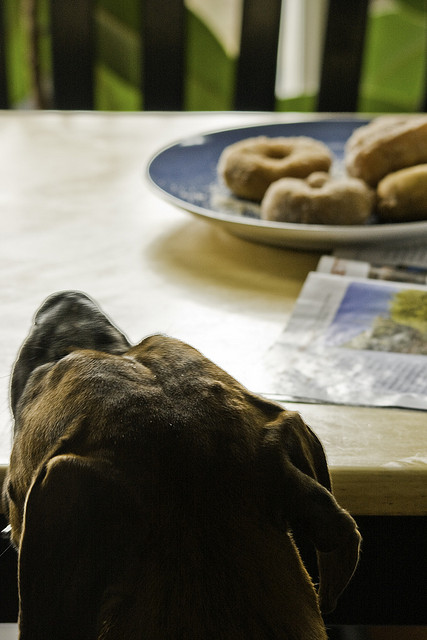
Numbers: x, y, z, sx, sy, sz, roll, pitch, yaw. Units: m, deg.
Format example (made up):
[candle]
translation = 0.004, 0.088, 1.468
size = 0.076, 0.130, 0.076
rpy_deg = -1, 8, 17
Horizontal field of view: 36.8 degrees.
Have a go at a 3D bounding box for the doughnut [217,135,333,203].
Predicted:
[doughnut]
translation = 0.052, -0.131, 0.531
size = 0.078, 0.028, 0.068
rpy_deg = 11, 64, 6

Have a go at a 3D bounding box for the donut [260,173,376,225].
[donut]
translation = 0.081, -0.091, 0.478
size = 0.090, 0.030, 0.078
rpy_deg = 0, 21, 9

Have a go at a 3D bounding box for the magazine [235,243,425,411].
[magazine]
translation = 0.071, 0.006, 0.357
size = 0.092, 0.037, 0.135
rpy_deg = 9, 21, 9

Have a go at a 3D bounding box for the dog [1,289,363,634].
[dog]
translation = -0.023, 0.066, 0.288
size = 0.112, 0.081, 0.153
rpy_deg = -14, 48, -16
